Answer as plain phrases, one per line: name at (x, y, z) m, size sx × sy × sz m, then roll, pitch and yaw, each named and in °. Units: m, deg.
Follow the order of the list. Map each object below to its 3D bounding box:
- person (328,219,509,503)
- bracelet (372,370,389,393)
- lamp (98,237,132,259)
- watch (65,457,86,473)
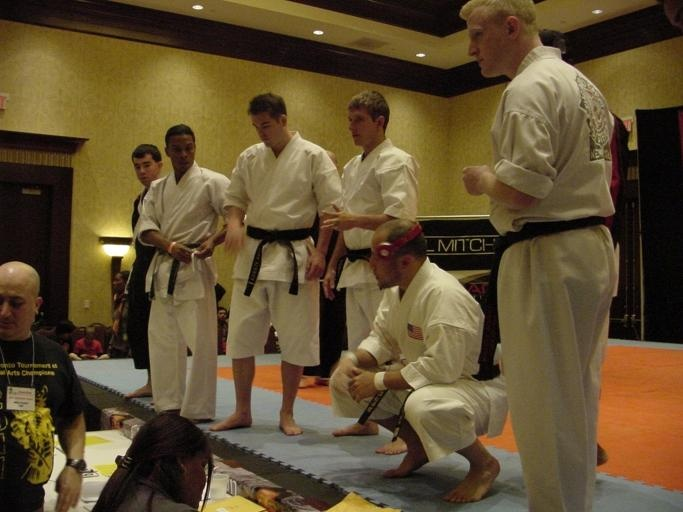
person at (0.442, 0.439, 3.053) m, size 0.948 × 1.518 × 1.156 m, roll 1°, pitch -7°, yaw -11°
bracelet at (0.168, 0.538, 2.428) m, size 0.057 × 0.062 × 0.073 m, roll -1°, pitch -1°, yaw -1°
lamp at (-3.354, -0.151, 8.498) m, size 0.332 × 0.264 × 0.344 m, roll 0°, pitch -5°, yaw -9°
watch at (-0.926, 0.733, 1.995) m, size 0.054 × 0.035 × 0.046 m, roll 4°, pitch -4°, yaw 16°
